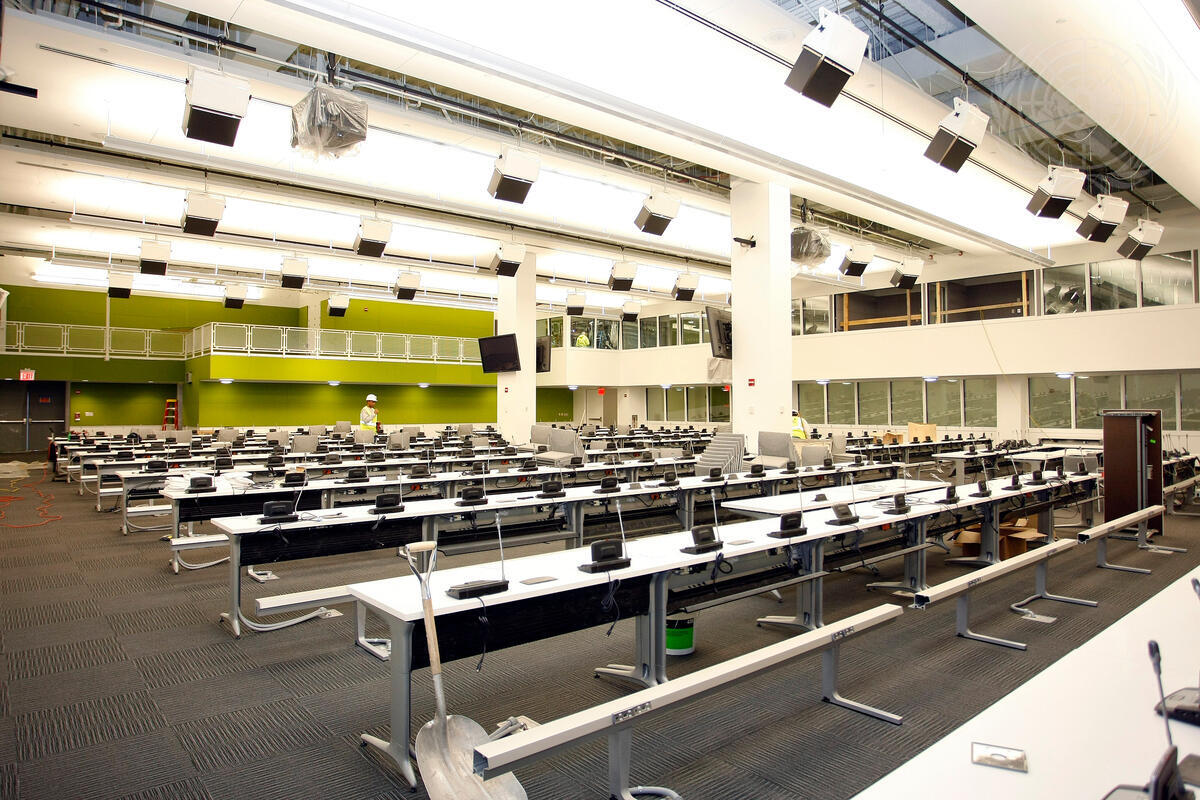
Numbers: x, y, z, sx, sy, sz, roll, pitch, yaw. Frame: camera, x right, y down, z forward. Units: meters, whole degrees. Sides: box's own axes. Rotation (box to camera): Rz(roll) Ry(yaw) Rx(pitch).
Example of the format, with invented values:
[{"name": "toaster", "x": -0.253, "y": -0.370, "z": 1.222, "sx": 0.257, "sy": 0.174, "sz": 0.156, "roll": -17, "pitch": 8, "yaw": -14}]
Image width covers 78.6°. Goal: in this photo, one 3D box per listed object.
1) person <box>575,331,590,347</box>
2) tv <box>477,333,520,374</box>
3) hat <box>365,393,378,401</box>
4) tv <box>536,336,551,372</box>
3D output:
[{"name": "person", "x": -0.702, "y": -2.330, "z": 27.674, "sx": 0.423, "sy": 0.562, "sz": 1.104, "roll": -2, "pitch": 0, "yaw": 15}, {"name": "tv", "x": -2.611, "y": -1.208, "z": 18.959, "sx": 1.064, "sy": 0.969, "sz": 0.442, "roll": -2, "pitch": 1, "yaw": 29}, {"name": "hat", "x": -6.720, "y": -0.105, "z": 21.410, "sx": 0.384, "sy": 0.170, "sz": 0.259, "roll": -5, "pitch": 4, "yaw": -26}, {"name": "tv", "x": -2.103, "y": -1.681, "z": 27.063, "sx": 0.562, "sy": 1.206, "sz": 0.887, "roll": -2, "pitch": 0, "yaw": -6}]
